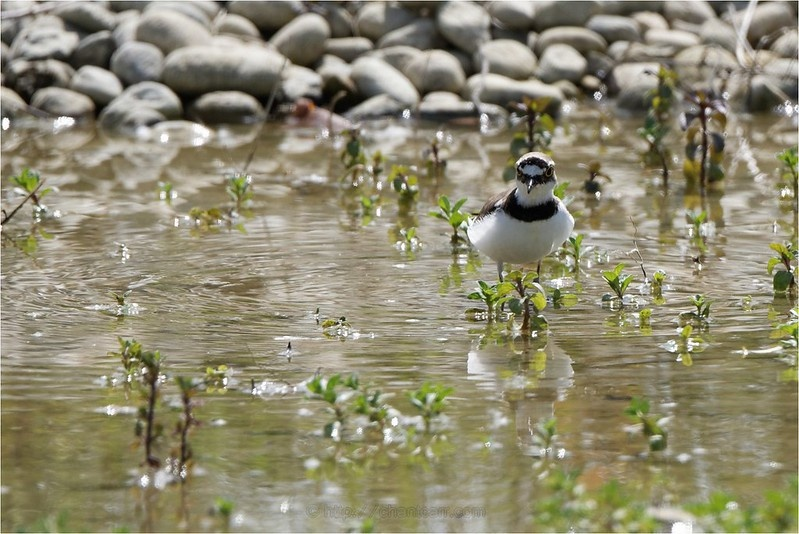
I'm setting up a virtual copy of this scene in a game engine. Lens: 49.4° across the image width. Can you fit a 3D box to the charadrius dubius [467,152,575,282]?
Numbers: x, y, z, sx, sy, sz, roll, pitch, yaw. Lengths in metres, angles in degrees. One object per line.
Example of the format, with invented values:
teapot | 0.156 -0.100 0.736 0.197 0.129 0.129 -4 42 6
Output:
charadrius dubius | 0.826 -0.365 5.899 0.701 0.765 0.377 0 33 4
